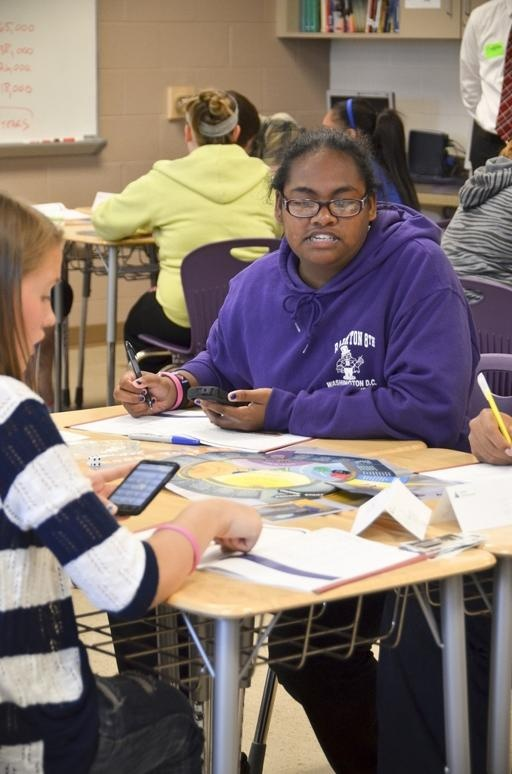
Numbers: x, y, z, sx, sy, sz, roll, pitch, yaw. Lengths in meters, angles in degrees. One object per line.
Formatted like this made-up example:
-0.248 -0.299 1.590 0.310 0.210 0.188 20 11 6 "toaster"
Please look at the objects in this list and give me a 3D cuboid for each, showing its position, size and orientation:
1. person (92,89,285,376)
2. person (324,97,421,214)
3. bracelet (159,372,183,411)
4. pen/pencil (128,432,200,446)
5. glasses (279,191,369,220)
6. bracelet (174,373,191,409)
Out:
-0.313 -0.644 3.390 0.998 1.453 0.901 -7 17 -26 "person"
0.553 -1.123 3.429 0.449 0.746 0.306 7 58 17 "person"
-0.183 0.008 1.508 0.063 0.076 0.032 6 17 34 "bracelet"
-0.171 0.096 1.244 0.135 0.013 0.014 3 9 8 "pen/pencil"
0.140 -0.361 1.368 0.167 0.051 0.068 1 9 6 "glasses"
-0.162 0.007 1.517 0.037 0.069 0.064 0 -8 -37 "bracelet"
